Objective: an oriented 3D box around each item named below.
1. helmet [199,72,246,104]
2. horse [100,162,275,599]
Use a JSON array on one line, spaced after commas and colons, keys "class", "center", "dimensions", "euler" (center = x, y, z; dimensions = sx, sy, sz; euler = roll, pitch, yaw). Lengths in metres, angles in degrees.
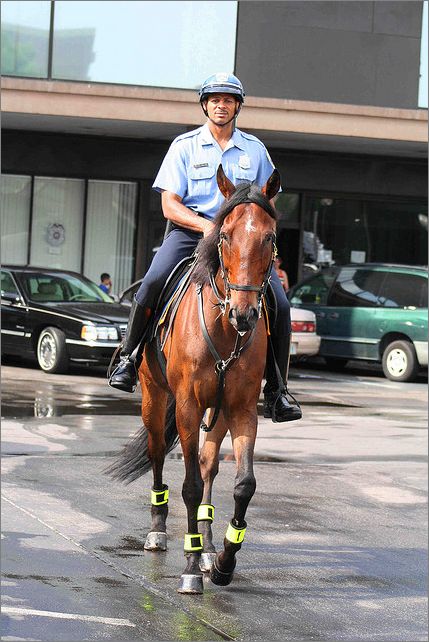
[{"class": "helmet", "center": [0.045, -1.247, 4.489], "dimensions": [0.182, 0.144, 0.194], "euler": [3, 9, 1]}, {"class": "horse", "center": [-0.078, 0.252, 4.175], "dimensions": [0.601, 1.799, 1.991], "euler": [4, 1, -5]}]
